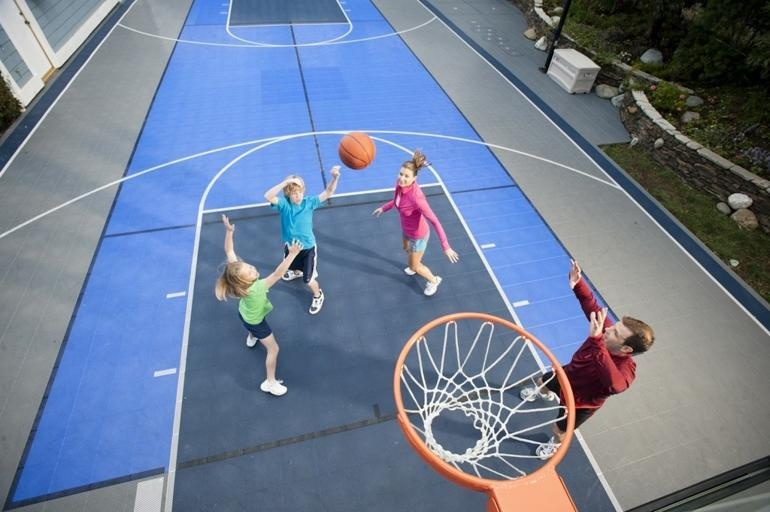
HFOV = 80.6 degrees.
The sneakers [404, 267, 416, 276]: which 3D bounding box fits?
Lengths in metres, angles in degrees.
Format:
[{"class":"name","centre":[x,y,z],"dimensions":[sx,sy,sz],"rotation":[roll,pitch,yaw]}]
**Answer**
[{"class":"sneakers","centre":[0.459,0.315,8.494],"dimensions":[0.212,0.212,0.117],"rotation":[5,77,18]}]

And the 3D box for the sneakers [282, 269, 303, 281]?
[{"class":"sneakers","centre":[-1.689,0.370,8.354],"dimensions":[0.409,0.175,0.170],"rotation":[-11,75,-16]}]

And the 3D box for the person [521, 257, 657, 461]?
[{"class":"person","centre":[3.253,1.785,7.276],"dimensions":[0.946,2.624,1.607],"rotation":[4,55,-16]}]

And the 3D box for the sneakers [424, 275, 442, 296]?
[{"class":"sneakers","centre":[0.875,0.548,8.318],"dimensions":[0.216,0.462,0.190],"rotation":[10,37,-24]}]

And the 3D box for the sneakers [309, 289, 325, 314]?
[{"class":"sneakers","centre":[-1.224,0.809,8.066],"dimensions":[0.178,0.201,0.464],"rotation":[3,43,7]}]

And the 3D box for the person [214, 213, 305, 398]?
[{"class":"person","centre":[-2.069,0.967,7.554],"dimensions":[1.174,2.497,1.487],"rotation":[-29,62,-31]}]

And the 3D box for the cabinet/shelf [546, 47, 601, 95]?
[{"class":"cabinet/shelf","centre":[5.208,-5.130,12.649],"dimensions":[0.713,0.776,1.250],"rotation":[-7,46,-15]}]

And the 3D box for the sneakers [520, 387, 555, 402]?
[{"class":"sneakers","centre":[2.451,2.283,7.419],"dimensions":[0.651,0.285,0.240],"rotation":[5,69,-1]}]

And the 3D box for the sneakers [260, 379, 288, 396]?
[{"class":"sneakers","centre":[-1.790,2.136,7.321],"dimensions":[0.351,0.167,0.260],"rotation":[8,48,4]}]

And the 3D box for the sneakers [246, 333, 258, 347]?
[{"class":"sneakers","centre":[-2.277,1.410,7.751],"dimensions":[0.136,0.126,0.294],"rotation":[-5,59,-1]}]
